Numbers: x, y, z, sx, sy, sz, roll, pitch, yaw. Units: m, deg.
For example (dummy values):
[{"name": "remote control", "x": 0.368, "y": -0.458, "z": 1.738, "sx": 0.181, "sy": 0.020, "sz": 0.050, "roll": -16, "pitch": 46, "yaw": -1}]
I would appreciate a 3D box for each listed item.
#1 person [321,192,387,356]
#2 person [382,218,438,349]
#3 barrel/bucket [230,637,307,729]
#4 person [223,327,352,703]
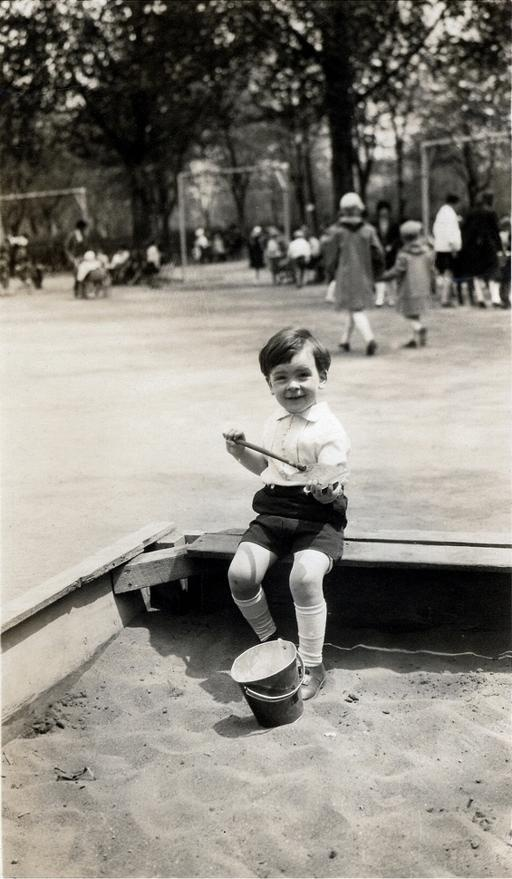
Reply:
[{"name": "person", "x": 0.746, "y": -1.254, "z": 7.678, "sx": 0.432, "sy": 1.195, "sz": 0.696, "roll": -1, "pitch": 14, "yaw": 7}, {"name": "person", "x": 1.191, "y": -1.167, "z": 7.709, "sx": 0.351, "sy": 0.978, "sz": 0.602, "roll": 4, "pitch": 15, "yaw": 25}, {"name": "barrel/bucket", "x": 0.034, "y": 0.594, "z": 2.516, "sx": 0.176, "sy": 0.149, "sz": 0.184, "roll": -30, "pitch": 3, "yaw": 2}, {"name": "person", "x": 0.090, "y": 0.183, "z": 2.750, "sx": 0.347, "sy": 0.902, "sz": 0.601, "roll": -3, "pitch": 14, "yaw": 1}]
